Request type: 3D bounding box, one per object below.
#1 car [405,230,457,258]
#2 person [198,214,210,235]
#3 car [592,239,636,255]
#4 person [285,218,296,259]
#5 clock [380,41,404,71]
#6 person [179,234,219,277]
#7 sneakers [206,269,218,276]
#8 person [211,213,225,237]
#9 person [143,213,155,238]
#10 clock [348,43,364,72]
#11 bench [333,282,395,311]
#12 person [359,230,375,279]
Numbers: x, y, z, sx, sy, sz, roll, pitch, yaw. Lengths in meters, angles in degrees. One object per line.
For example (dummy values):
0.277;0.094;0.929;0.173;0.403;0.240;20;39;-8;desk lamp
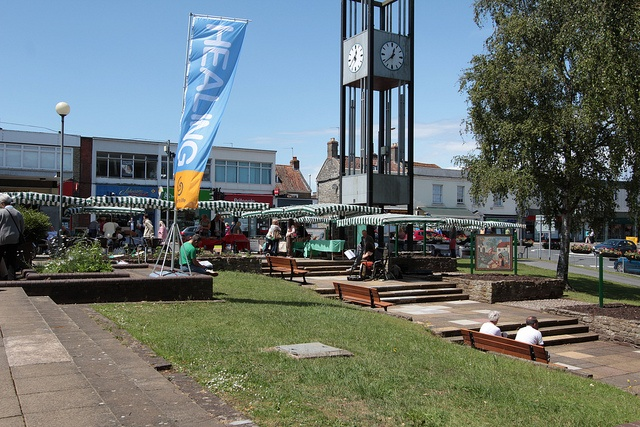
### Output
9.137;2.770;51.981;3.077;1.237;2.288;-2;4;-18;car
-5.546;0.572;30.897;0.534;1.122;1.702;1;-2;-11;person
23.475;2.634;50.438;3.063;1.155;4.096;0;-2;15;car
-1.403;1.207;31.671;0.464;1.842;1.419;0;-2;-4;person
3.718;-8.236;32.986;1.412;1.519;0.274;-23;10;-27;clock
-3.702;1.239;19.451;1.134;1.299;1.079;2;5;-22;person
-3.390;1.846;19.804;0.184;0.262;0.496;3;-8;-42;sneakers
-5.155;0.626;31.933;0.641;1.203;2.879;1;-2;-10;person
-9.165;0.616;34.049;0.662;1.948;1.140;1;-7;-13;person
1.922;-8.125;33.044;0.093;1.712;1.554;-1;2;-26;clock
1.425;2.780;21.408;0.683;0.821;2.276;-9;6;-36;bench
1.955;1.700;26.079;0.570;1.947;0.779;-1;-2;22;person
